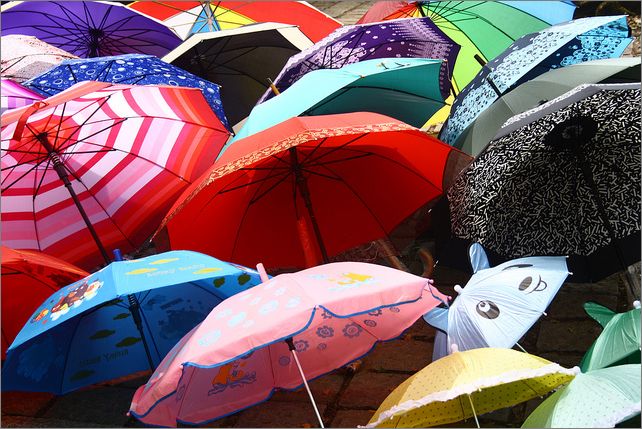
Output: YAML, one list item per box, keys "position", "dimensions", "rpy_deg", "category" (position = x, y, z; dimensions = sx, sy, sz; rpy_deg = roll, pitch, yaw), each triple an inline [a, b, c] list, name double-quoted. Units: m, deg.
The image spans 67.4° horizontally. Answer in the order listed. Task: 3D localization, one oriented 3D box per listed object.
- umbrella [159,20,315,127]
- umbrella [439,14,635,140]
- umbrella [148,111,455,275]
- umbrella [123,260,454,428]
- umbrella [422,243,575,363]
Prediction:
- position: [-0.829, -1.564, 4.910]
  dimensions: [1.152, 1.015, 0.516]
  rpy_deg: [-10, 55, -30]
  category: "umbrella"
- position: [1.268, -1.031, 3.487]
  dimensions: [1.207, 1.134, 0.388]
  rpy_deg: [-23, 77, -34]
  category: "umbrella"
- position: [-0.110, -0.139, 3.430]
  dimensions: [1.509, 1.412, 0.624]
  rpy_deg: [-26, 59, 8]
  category: "umbrella"
- position: [-0.243, 0.740, 2.856]
  dimensions: [1.366, 1.207, 0.919]
  rpy_deg: [-32, 60, -5]
  category: "umbrella"
- position: [0.958, 0.472, 2.595]
  dimensions: [0.699, 0.403, 0.663]
  rpy_deg: [-17, 24, 46]
  category: "umbrella"
